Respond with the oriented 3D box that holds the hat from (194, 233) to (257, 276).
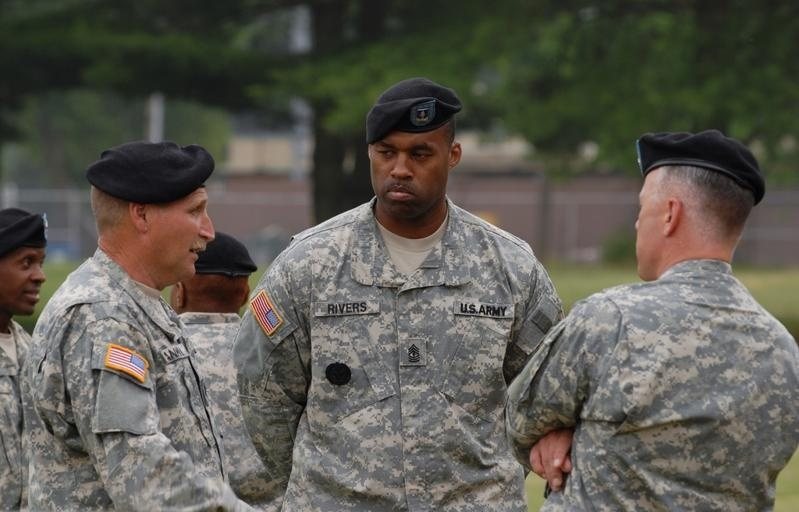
[{"bbox_3d":[-1.678,-0.009,16.851,0.500,0.262,0.374,-2,0,-9],"label":"hat"}]
